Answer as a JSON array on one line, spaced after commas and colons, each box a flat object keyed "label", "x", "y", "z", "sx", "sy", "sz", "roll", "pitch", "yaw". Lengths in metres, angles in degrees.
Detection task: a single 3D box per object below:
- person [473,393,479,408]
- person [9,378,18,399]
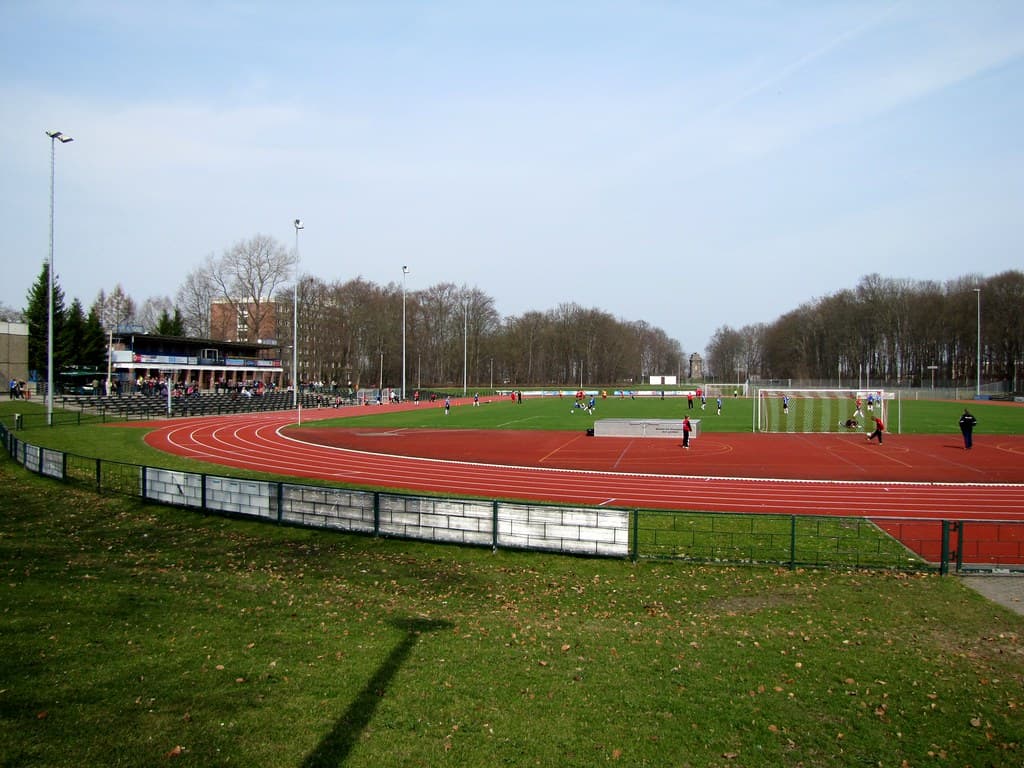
[{"label": "person", "x": -3.311, "y": 1.538, "z": 97.099, "sx": 0.562, "sy": 1.014, "sz": 0.480, "roll": -12, "pitch": 27, "yaw": -23}, {"label": "person", "x": -30.436, "y": 0.319, "z": 64.643, "sx": 0.287, "sy": 1.125, "sz": 2.019, "roll": 1, "pitch": -2, "yaw": -26}]
